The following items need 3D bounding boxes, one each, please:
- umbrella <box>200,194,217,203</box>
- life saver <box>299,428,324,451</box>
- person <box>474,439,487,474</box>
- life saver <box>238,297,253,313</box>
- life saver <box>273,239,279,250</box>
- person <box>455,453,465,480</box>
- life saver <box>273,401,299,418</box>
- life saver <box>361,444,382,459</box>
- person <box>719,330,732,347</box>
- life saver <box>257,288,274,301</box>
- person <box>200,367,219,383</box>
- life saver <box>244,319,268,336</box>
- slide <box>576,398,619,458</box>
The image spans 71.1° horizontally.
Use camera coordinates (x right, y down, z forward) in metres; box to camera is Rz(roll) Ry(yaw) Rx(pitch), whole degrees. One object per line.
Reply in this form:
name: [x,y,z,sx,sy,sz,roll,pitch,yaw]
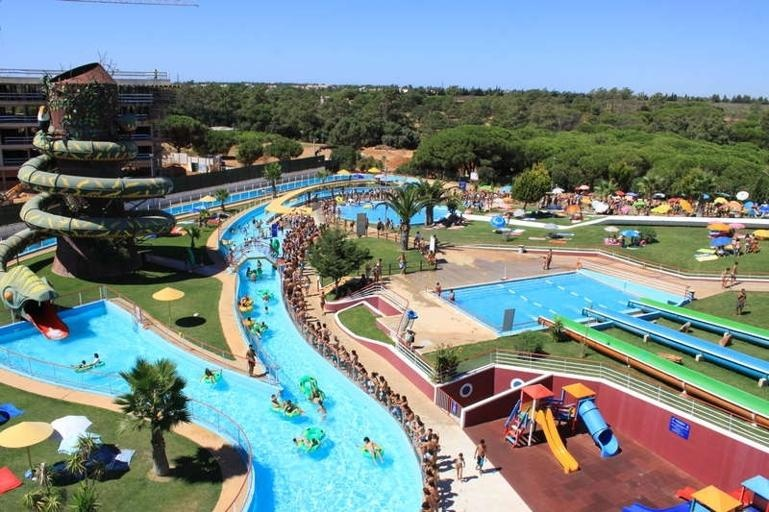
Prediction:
umbrella: [-22.579,-7.380,68.845,1.371,0.579,1.275,-3,22,-3]
life saver: [-4.003,9.972,29.342,1.187,0.926,0.753,-10,18,-33]
person: [5.077,10.570,28.591,0.486,1.716,0.722,3,16,9]
life saver: [-10.745,3.751,41.755,1.208,0.382,1.065,5,55,0]
life saver: [-10.536,-1.154,52.862,0.771,0.881,0.299,3,6,34]
person: [3.989,10.779,28.344,0.476,1.566,1.081,3,16,9]
life saver: [-5.697,8.837,31.259,1.227,0.360,0.942,10,10,2]
life saver: [-0.664,10.571,29.055,1.002,0.314,0.667,27,46,-7]
person: [22.788,5.486,35.923,0.896,0.774,1.276,-6,10,18]
life saver: [-9.753,3.114,44.006,0.959,0.395,0.985,8,12,-13]
person: [-10.677,7.292,32.925,0.884,0.276,0.932,33,34,33]
life saver: [-9.431,5.065,38.856,1.516,0.486,1.111,11,7,34]
slide: [12.216,9.742,30.548,1.490,1.289,3.617,-9,41,-6]
